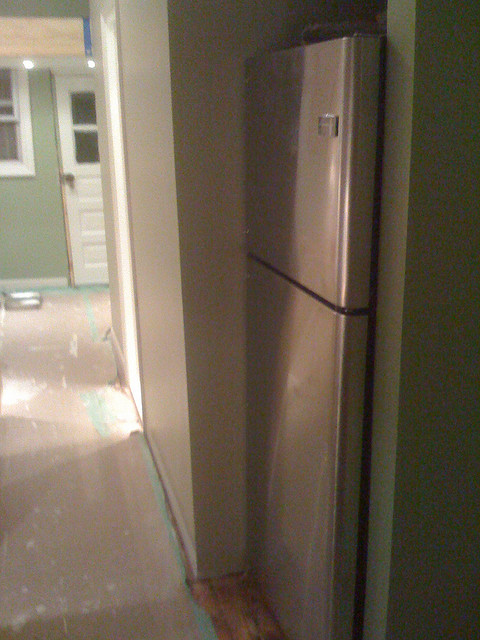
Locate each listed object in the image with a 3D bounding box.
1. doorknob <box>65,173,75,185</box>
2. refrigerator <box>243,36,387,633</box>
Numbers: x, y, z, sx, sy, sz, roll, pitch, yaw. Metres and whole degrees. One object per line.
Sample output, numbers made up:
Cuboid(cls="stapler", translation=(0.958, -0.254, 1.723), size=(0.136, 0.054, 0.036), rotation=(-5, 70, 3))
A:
Cuboid(cls="doorknob", translation=(-1.300, -1.074, 4.084), size=(0.043, 0.098, 0.047), rotation=(3, 5, 9))
Cuboid(cls="refrigerator", translation=(0.105, 0.123, 0.940), size=(0.138, 1.125, 0.504), rotation=(-2, 11, -8))
